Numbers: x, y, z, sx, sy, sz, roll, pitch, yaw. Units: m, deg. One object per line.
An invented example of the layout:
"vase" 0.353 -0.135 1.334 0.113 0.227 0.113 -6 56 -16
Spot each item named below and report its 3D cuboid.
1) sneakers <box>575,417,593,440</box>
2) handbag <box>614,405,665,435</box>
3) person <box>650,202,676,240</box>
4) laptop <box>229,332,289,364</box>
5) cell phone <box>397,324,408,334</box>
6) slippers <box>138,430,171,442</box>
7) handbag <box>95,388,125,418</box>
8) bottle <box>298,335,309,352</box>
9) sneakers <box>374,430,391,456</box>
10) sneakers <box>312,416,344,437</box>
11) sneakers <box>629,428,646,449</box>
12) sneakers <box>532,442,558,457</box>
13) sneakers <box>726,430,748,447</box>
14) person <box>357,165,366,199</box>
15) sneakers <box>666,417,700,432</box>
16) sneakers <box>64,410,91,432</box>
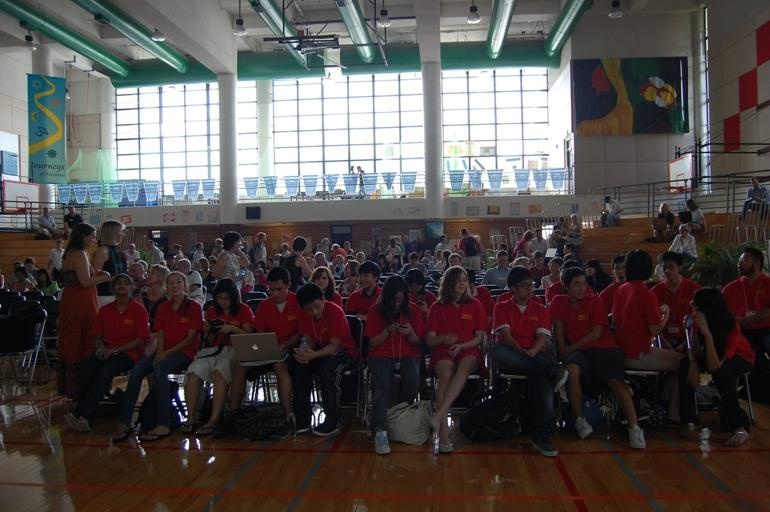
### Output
"sneakers" 2.297 2.001 7.206 0.128 0.142 0.291 -26 -6 -7
"handbag" 2.919 1.925 7.308 0.699 0.273 0.306 -3 -4 13
"person" 6.546 -0.682 14.658 0.652 1.156 0.400 -4 3 -43
"laptop" -1.525 1.106 7.364 0.519 0.384 0.377 0 21 4
"cell phone" 0.203 0.861 7.315 0.080 0.046 0.102 0 18 -41
"slippers" -2.725 2.141 7.344 0.279 0.072 0.136 3 2 -17
"handbag" -3.483 1.910 8.058 0.391 0.403 0.285 0 -6 7
"bottle" -1.013 1.087 7.686 0.160 0.253 0.125 2 11 -20
"sneakers" -0.038 2.125 7.091 0.182 0.259 0.257 -3 1 -2
"sneakers" -0.682 2.052 7.392 0.379 0.178 0.140 5 -7 -43
"sneakers" 2.863 2.058 7.039 0.210 0.219 0.129 -3 1 -4
"sneakers" 1.797 2.179 7.006 0.111 0.111 0.260 -2 0 -43
"sneakers" 3.951 2.055 7.025 0.266 0.112 0.138 -18 -14 -27
"person" -0.844 -2.643 22.445 0.235 1.135 0.719 -3 1 -2
"sneakers" 3.475 2.001 7.305 0.467 0.198 0.174 -7 -9 27
"sneakers" -3.808 2.050 7.707 0.195 0.235 0.534 -3 -7 -25
